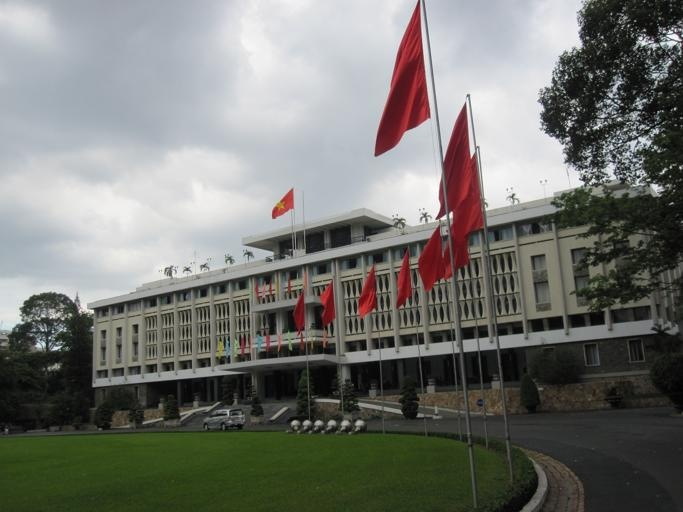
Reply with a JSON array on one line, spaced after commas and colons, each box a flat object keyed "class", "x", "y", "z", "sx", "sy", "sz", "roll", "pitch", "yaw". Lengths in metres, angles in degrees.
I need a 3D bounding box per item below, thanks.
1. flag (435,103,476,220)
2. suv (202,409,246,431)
[{"class": "flag", "x": 3.510, "y": -2.935, "z": 19.209, "sx": 1.087, "sy": 3.973, "sz": 2.662, "roll": -6, "pitch": -14, "yaw": 11}, {"class": "suv", "x": -8.801, "y": 12.362, "z": 46.625, "sx": 1.730, "sy": 1.498, "sz": 3.347, "roll": 8, "pitch": -19, "yaw": -39}]
